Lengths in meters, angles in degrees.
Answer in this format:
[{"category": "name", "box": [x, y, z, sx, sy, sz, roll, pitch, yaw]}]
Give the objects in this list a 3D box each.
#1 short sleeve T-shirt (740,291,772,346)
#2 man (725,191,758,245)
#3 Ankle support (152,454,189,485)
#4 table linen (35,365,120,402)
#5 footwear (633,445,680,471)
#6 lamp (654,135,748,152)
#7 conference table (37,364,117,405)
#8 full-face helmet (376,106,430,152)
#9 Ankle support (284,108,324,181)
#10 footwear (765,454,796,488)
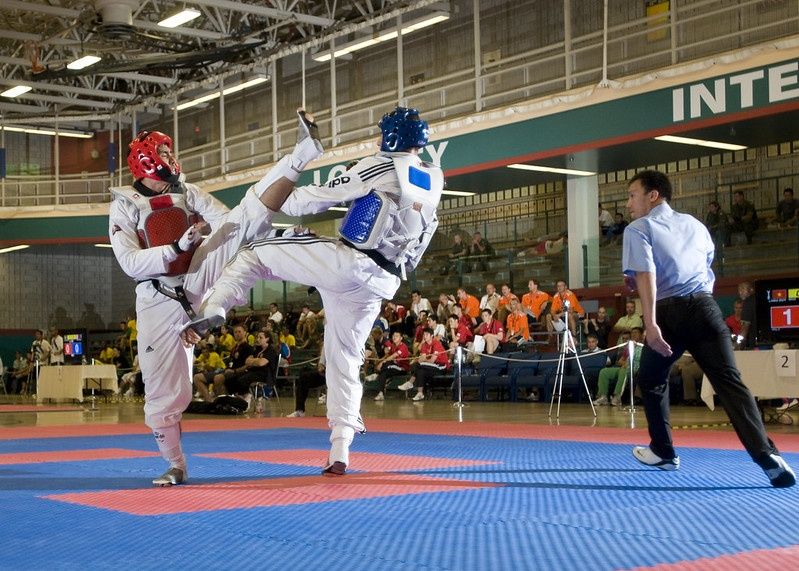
[{"category": "short sleeve T-shirt", "box": [5.573, 0.478, 15.258, 0.362, 1.085, 0.509, 18, 27, 40]}, {"category": "man", "box": [6.767, -1.329, 18.872, 0.698, 1.069, 0.644, -9, 5, -30]}, {"category": "Ankle support", "box": [-2.175, 1.742, 8.833, 0.166, 0.231, 0.367, -8, -13, 26]}, {"category": "table linen", "box": [-7.523, 2.245, 22.629, 1.396, 0.695, 1.346, -1, 0, -34]}, {"category": "footwear", "box": [2.488, 1.701, 9.412, 0.464, 0.184, 0.183, 19, 2, 26]}, {"category": "lamp", "box": [6.067, -2.877, 19.281, 2.399, 0.147, 0.657, -1, -1, -31]}, {"category": "conference table", "box": [-7.755, 2.238, 23.003, 1.865, 0.714, 1.713, 1, 3, -30]}, {"category": "full-face helmet", "box": [0.032, -1.479, 9.110, 0.516, 0.429, 0.380, 4, 2, 17]}, {"category": "Ankle support", "box": [-0.885, -1.308, 8.923, 0.354, 0.649, 0.394, -1, -1, -27]}, {"category": "footwear", "box": [3.396, 1.674, 8.554, 0.150, 0.176, 0.396, -26, -52, 19]}]
